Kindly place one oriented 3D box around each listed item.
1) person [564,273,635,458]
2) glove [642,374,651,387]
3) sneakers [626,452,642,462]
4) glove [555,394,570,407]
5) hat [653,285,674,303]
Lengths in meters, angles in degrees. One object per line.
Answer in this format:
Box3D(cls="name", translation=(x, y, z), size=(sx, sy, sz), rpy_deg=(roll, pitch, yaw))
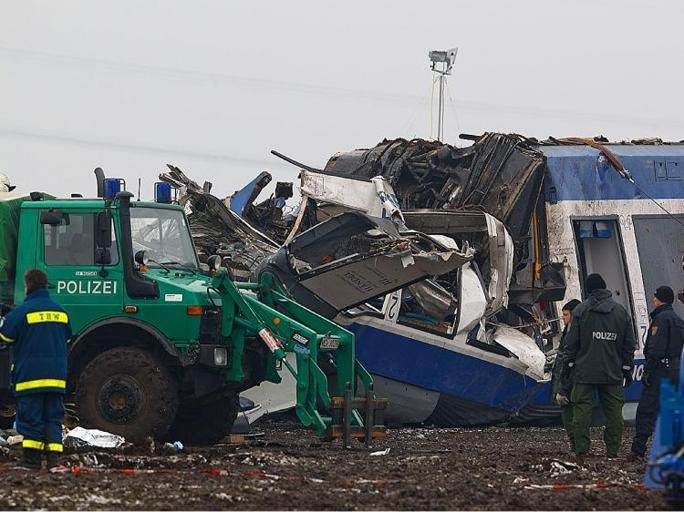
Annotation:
Box3D(cls="person", translation=(3.176, 1.338, 14.123), size=(0.837, 2.229, 0.496), rpy_deg=(0, -2, -13))
Box3D(cls="glove", translation=(3.726, 1.514, 14.033), size=(0.103, 0.146, 0.035), rpy_deg=(2, 0, 5))
Box3D(cls="sneakers", translation=(3.521, 2.412, 13.808), size=(0.173, 0.092, 0.250), rpy_deg=(-1, -2, 25))
Box3D(cls="glove", translation=(2.779, 1.788, 14.323), size=(0.170, 0.126, 0.062), rpy_deg=(20, 23, 30))
Box3D(cls="hat", translation=(4.033, 0.482, 14.368), size=(0.222, 0.196, 0.236), rpy_deg=(14, 1, 20))
